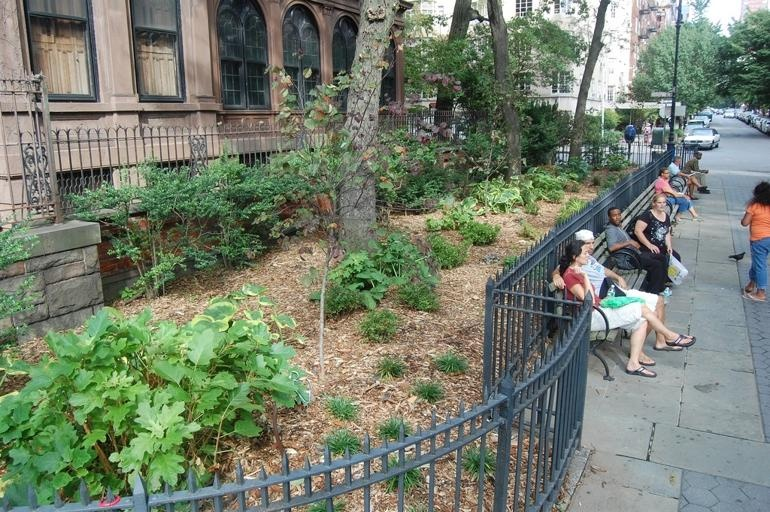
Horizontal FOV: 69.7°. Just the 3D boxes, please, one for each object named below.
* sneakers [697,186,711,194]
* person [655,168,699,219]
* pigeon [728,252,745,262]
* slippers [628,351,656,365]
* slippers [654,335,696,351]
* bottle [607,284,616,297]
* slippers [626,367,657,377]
[{"bbox_3d":[12.064,-2.460,20.620,0.662,0.304,0.239,-5,15,-25],"label":"sneakers"},{"bbox_3d":[8.354,-1.778,15.760,0.971,0.931,2.105,0,19,24],"label":"person"},{"bbox_3d":[7.928,-0.018,12.478,0.381,0.271,0.204,8,9,28],"label":"pigeon"},{"bbox_3d":[3.697,1.468,7.924,0.360,0.155,0.141,10,26,29],"label":"slippers"},{"bbox_3d":[4.408,1.319,8.352,0.466,0.187,0.275,-5,14,7],"label":"slippers"},{"bbox_3d":[3.425,0.508,8.327,0.149,0.228,0.117,-9,10,-39],"label":"bottle"},{"bbox_3d":[3.593,1.625,7.694,0.350,0.128,0.148,1,13,16],"label":"slippers"}]
